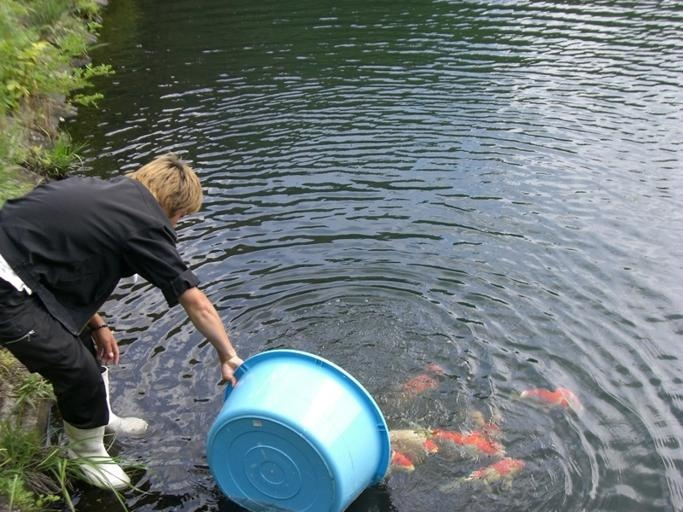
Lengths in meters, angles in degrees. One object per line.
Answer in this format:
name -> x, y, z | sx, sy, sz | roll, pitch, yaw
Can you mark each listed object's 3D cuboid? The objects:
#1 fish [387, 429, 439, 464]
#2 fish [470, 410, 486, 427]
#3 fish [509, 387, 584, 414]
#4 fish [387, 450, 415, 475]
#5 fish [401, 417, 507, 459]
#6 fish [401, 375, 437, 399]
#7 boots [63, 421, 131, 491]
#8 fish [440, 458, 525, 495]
fish -> 0.698, 1.856, 6.792 | 0.485, 0.086, 0.402 | -7, 26, 1
fish -> 1.395, 1.642, 6.994 | 0.122, 0.034, 0.141 | -15, 47, 0
fish -> 2.132, 1.446, 7.192 | 0.736, 0.190, 0.233 | 7, 22, 13
fish -> 0.601, 1.949, 6.608 | 0.240, 0.082, 0.217 | 8, 50, 2
fish -> 0.906, 1.846, 6.854 | 1.541, 0.341, 0.389 | 11, 9, -30
fish -> 0.815, 1.375, 7.313 | 0.402, 0.070, 0.209 | -24, 56, -23
boots -> -2.296, 1.879, 6.422 | 0.818, 0.509, 0.261 | 20, 51, 10
fish -> 1.385, 2.039, 6.728 | 0.891, 0.154, 0.308 | -1, 20, 47
